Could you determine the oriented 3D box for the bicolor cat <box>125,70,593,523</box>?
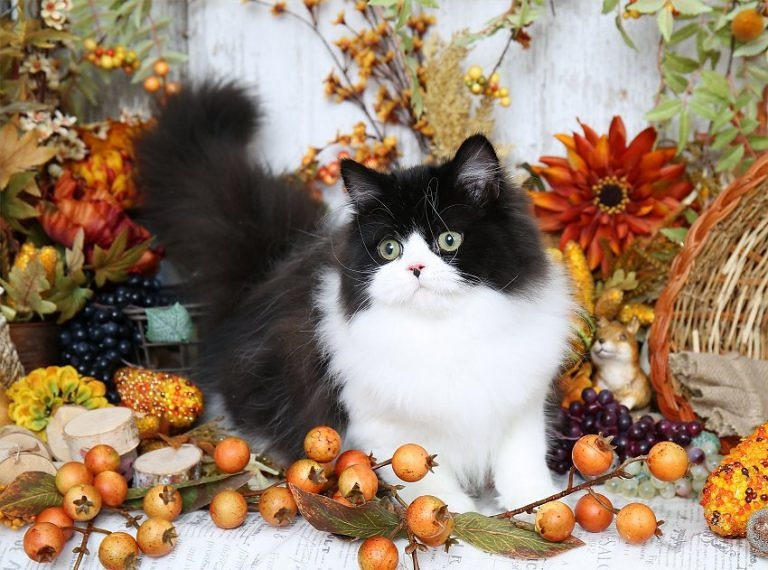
[{"bbox_3d":[-0.153,-0.093,2.863,0.753,0.850,1.375,-21,29,-28],"label":"bicolor cat"}]

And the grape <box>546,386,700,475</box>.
[{"bbox_3d":[0.667,0.395,2.686,0.365,0.251,0.339,0,16,18],"label":"grape"}]

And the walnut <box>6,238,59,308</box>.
[{"bbox_3d":[-1.012,-0.055,2.815,0.135,0.162,0.223,4,46,1],"label":"walnut"}]

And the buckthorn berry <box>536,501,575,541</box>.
[{"bbox_3d":[0.415,0.573,2.389,0.088,0.100,0.090,-3,-3,-5],"label":"buckthorn berry"}]

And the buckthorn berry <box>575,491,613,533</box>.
[{"bbox_3d":[0.521,0.563,2.440,0.093,0.123,0.102,1,26,1],"label":"buckthorn berry"}]

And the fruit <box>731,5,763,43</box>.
[{"bbox_3d":[1.054,-0.761,2.842,0.080,0.085,0.102,21,57,34],"label":"fruit"}]

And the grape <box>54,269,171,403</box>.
[{"bbox_3d":[-0.817,0.148,2.892,0.219,0.401,0.263,-5,13,-8],"label":"grape"}]

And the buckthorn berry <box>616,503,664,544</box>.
[{"bbox_3d":[0.623,0.583,2.382,0.123,0.104,0.107,2,77,5],"label":"buckthorn berry"}]

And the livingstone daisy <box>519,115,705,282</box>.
[{"bbox_3d":[0.701,-0.291,2.977,0.527,0.499,0.309,6,17,-6],"label":"livingstone daisy"}]
